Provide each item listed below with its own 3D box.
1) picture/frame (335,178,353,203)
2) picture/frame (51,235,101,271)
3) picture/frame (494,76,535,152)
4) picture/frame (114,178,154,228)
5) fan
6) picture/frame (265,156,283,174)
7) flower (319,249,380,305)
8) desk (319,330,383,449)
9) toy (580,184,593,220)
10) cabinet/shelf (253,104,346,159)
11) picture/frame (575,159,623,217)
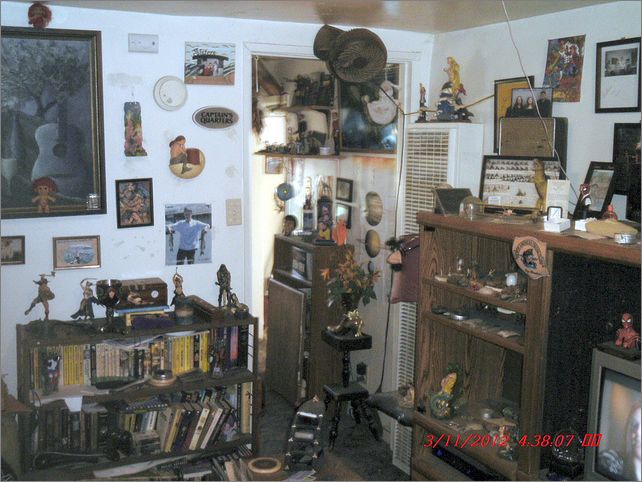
[{"bbox_3d":[0.220,-0.501,5.531,0.032,0.238,0.308,-6,8,-27],"label":"picture/frame"},{"bbox_3d":[-1.766,0.077,3.973,0.244,0.206,0.018,-2,3,-26],"label":"picture/frame"},{"bbox_3d":[1.318,-0.861,3.812,0.294,0.569,0.045,3,-23,13],"label":"picture/frame"},{"bbox_3d":[-1.390,-0.290,4.091,0.346,0.482,0.034,-2,7,-33],"label":"picture/frame"},{"bbox_3d":[0.145,-1.333,3.876,0.360,0.442,0.579,-9,10,-43],"label":"fan"},{"bbox_3d":[-0.604,-0.942,6.860,0.200,0.175,0.027,-1,3,-37],"label":"picture/frame"},{"bbox_3d":[0.277,0.352,4.952,0.481,0.507,0.241,6,6,17],"label":"flower"},{"bbox_3d":[0.201,1.235,4.853,0.407,0.890,0.449,-1,2,-18],"label":"desk"},{"bbox_3d":[1.396,-0.212,2.964,0.051,0.177,0.102,1,8,24],"label":"toy"},{"bbox_3d":[-0.322,-1.091,5.878,1.052,0.404,0.295,3,15,28],"label":"cabinet/shelf"},{"bbox_3d":[1.595,-0.302,3.247,0.179,0.357,0.028,3,28,0],"label":"picture/frame"}]
